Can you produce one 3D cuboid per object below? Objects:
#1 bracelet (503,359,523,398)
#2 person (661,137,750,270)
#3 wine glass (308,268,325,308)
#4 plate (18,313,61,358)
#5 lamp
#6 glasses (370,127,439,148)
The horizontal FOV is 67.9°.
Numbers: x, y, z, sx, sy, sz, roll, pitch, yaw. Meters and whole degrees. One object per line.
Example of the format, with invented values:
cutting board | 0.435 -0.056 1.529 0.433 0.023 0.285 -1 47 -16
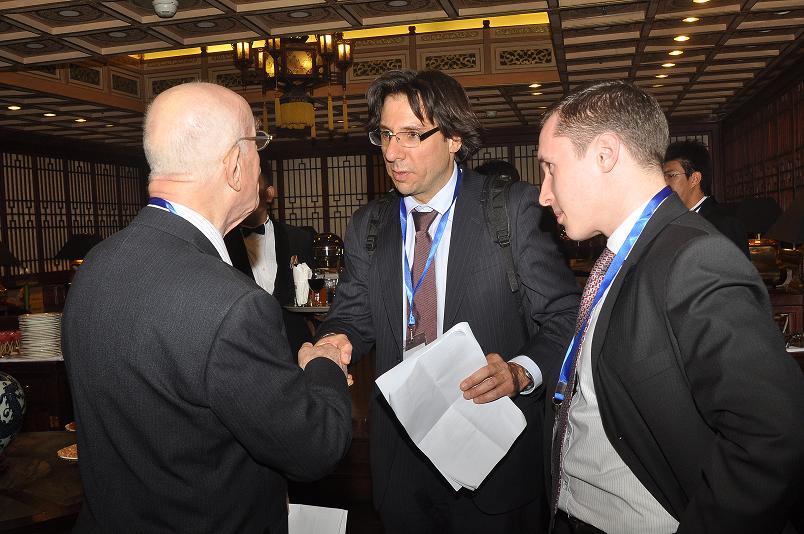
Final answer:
bracelet | 0.411 0.413 2.216 0.055 0.112 0.092 0 5 31
person | 2.398 -0.485 4.935 0.535 1.029 1.059 -1 5 5
wine glass | -0.686 0.153 4.624 0.160 0.266 0.159 0 6 -42
plate | -2.989 0.570 4.903 0.442 0.379 0.141 -2 5 12
lamp | -1.213 -2.200 6.843 1.168 1.143 1.159 -1 -4 -4
glasses | 0.001 -0.545 2.513 0.163 0.048 0.168 2 4 32
